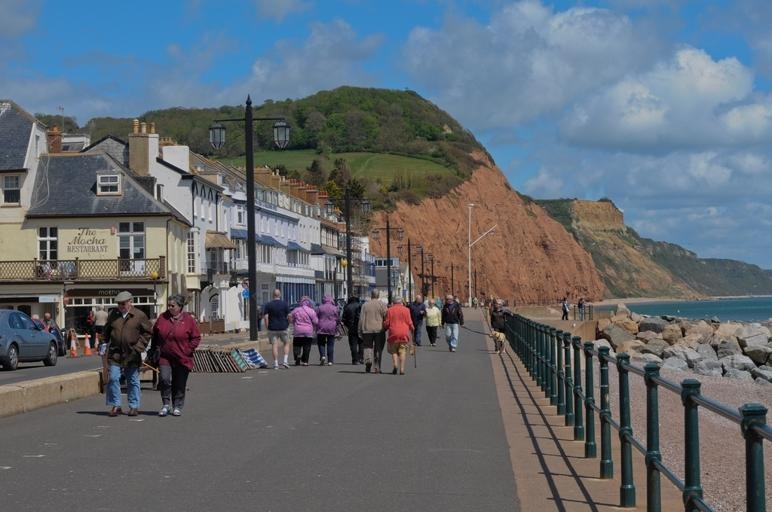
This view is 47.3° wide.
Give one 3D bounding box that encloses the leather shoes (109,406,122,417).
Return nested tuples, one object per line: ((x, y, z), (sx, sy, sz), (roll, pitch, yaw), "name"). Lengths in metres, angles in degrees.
((-5.309, 3.009, 17.096), (0.223, 0.185, 0.360), (-2, -2, -16), "leather shoes")

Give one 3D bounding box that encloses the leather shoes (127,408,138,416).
((-4.985, 3.045, 17.174), (0.119, 0.141, 0.326), (-1, -7, -9), "leather shoes")
